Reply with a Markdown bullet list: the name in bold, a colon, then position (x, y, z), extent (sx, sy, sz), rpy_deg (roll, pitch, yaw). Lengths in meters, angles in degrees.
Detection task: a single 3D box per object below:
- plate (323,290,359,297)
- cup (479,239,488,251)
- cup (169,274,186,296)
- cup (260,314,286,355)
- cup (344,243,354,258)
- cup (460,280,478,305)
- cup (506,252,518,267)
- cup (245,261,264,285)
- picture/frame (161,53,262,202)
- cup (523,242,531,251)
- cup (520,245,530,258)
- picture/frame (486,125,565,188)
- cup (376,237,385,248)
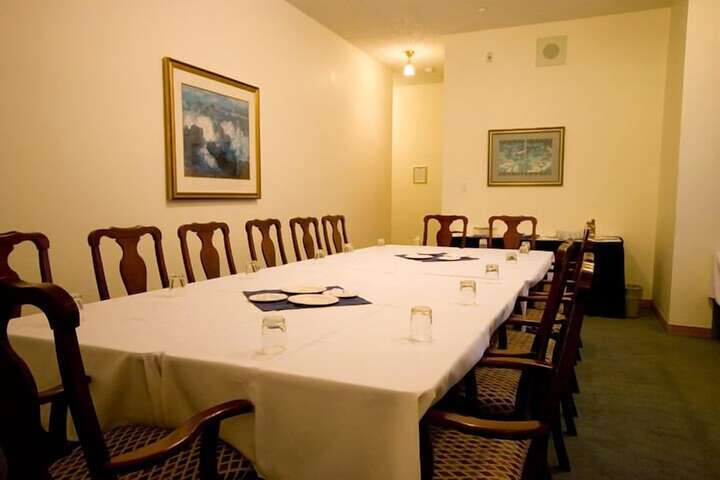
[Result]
- **plate**: position (-0.103, 0.321, 2.978), extent (0.081, 0.015, 0.079), rpy_deg (1, 14, -45)
- **cup**: position (1.340, 0.060, 5.499), extent (0.118, 0.134, 0.231), rpy_deg (0, -6, 16)
- **cup**: position (-1.116, 0.285, 3.123), extent (0.118, 0.187, 0.106), rpy_deg (0, -3, -13)
- **cup**: position (-0.368, 0.421, 2.262), extent (0.133, 0.167, 0.140), rpy_deg (0, 3, 0)
- **cup**: position (-0.102, 0.100, 4.702), extent (0.112, 0.220, 0.119), rpy_deg (1, -1, 0)
- **cup**: position (0.607, 0.300, 2.901), extent (0.112, 0.142, 0.117), rpy_deg (-2, 9, 0)
- **cup**: position (1.207, 0.152, 4.023), extent (0.118, 0.090, 0.164), rpy_deg (3, 8, 17)
- **cup**: position (-0.749, 0.244, 3.616), extent (0.125, 0.190, 0.133), rpy_deg (-1, 1, 0)
- **picture/frame**: position (-1.464, -1.088, 5.453), extent (0.099, 1.296, 1.291), rpy_deg (5, 7, 24)
- **cup**: position (1.602, 0.065, 4.866), extent (0.082, 0.091, 0.087), rpy_deg (-2, 7, 0)
- **cup**: position (1.531, 0.101, 4.673), extent (0.084, 0.128, 0.095), rpy_deg (0, 3, 37)
- **picture/frame**: position (2.338, -1.168, 7.008), extent (0.800, 0.721, 0.040), rpy_deg (1, 1, 23)
- **cup**: position (0.217, 0.040, 4.821), extent (0.099, 0.102, 0.101), rpy_deg (-1, 10, 0)
